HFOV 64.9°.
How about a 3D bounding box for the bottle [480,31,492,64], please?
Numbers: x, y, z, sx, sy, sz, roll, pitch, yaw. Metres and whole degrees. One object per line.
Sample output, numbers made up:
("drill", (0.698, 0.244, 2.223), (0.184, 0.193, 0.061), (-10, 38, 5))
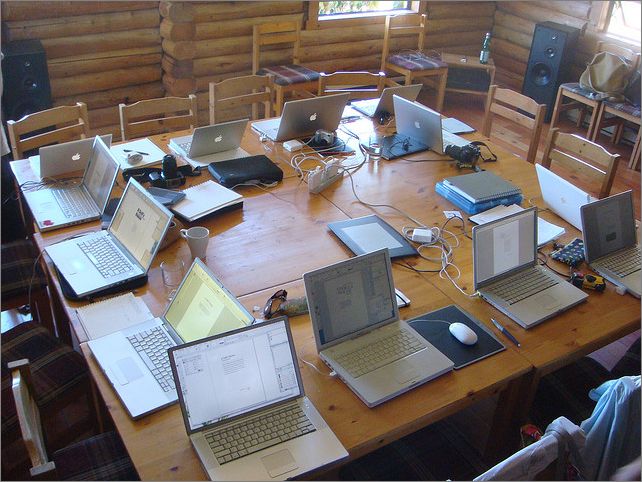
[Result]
("bottle", (2.008, -2.374, 6.152), (0.115, 0.373, 0.418), (11, 37, 15))

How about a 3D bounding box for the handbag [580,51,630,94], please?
("handbag", (3.005, -1.767, 5.341), (0.461, 0.477, 0.170), (34, 27, 30))

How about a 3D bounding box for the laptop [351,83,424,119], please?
("laptop", (0.525, -1.142, 4.043), (0.406, 0.253, 0.385), (-23, 40, -27))

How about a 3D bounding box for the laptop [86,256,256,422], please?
("laptop", (-0.613, 0.357, 2.003), (0.581, 0.295, 0.597), (-4, 29, -26))

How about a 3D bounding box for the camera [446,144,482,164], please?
("camera", (0.965, -0.638, 3.452), (0.172, 0.092, 0.174), (26, 40, 30))

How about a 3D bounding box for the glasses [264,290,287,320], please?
("glasses", (-0.215, 0.287, 2.301), (0.118, 0.085, 0.033), (-50, 15, -30))

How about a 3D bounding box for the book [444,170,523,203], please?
("book", (0.996, -0.334, 3.077), (0.270, 0.056, 0.270), (-13, 36, -25))

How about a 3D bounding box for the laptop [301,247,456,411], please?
("laptop", (0.219, 0.318, 2.006), (0.480, 0.353, 0.511), (-11, 24, -21))

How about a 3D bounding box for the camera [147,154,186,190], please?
("camera", (-0.967, -0.397, 3.121), (0.135, 0.250, 0.229), (-12, 69, 14))

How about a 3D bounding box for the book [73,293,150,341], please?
("book", (-0.917, 0.326, 2.226), (0.217, 0.066, 0.190), (-19, 47, -22))

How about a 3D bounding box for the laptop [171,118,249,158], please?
("laptop", (-0.698, -0.670, 3.309), (0.340, 0.211, 0.331), (-20, 42, -29))

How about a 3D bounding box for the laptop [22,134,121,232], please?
("laptop", (-1.389, -0.335, 2.788), (0.434, 0.313, 0.486), (-13, 33, -32))

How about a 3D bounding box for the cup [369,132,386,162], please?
("cup", (0.398, -0.666, 3.621), (0.140, 0.236, 0.147), (-2, 37, 1))

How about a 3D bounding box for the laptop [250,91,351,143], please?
("laptop", (-0.141, -0.945, 3.708), (0.527, 0.326, 0.461), (-16, 35, -27))

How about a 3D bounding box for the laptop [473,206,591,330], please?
("laptop", (0.972, 0.101, 2.335), (0.467, 0.350, 0.409), (-12, 28, -16))

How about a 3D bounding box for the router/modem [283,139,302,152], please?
("router/modem", (-0.195, -0.676, 3.552), (0.091, 0.035, 0.094), (-21, 40, -30))
